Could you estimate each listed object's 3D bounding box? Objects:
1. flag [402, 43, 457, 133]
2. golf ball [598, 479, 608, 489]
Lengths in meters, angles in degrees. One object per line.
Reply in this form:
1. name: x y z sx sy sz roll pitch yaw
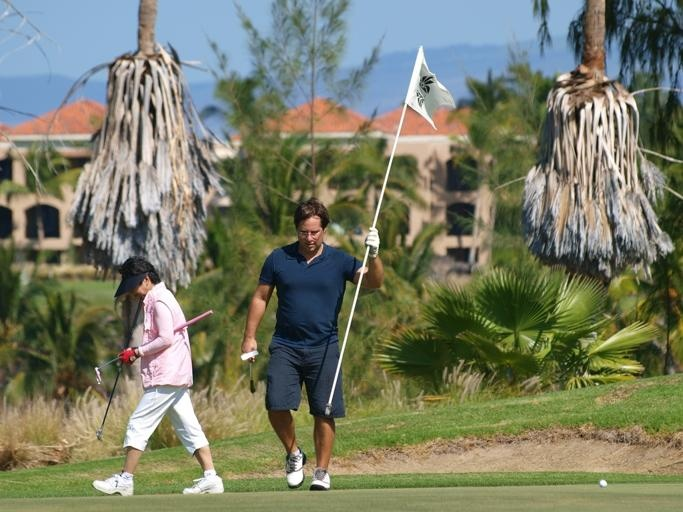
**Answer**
1. flag: 1.496 -2.936 32.424 0.789 1.231 1.420 -4 -7 4
2. golf ball: 4.118 3.565 29.613 0.101 0.120 0.112 -2 24 -2
